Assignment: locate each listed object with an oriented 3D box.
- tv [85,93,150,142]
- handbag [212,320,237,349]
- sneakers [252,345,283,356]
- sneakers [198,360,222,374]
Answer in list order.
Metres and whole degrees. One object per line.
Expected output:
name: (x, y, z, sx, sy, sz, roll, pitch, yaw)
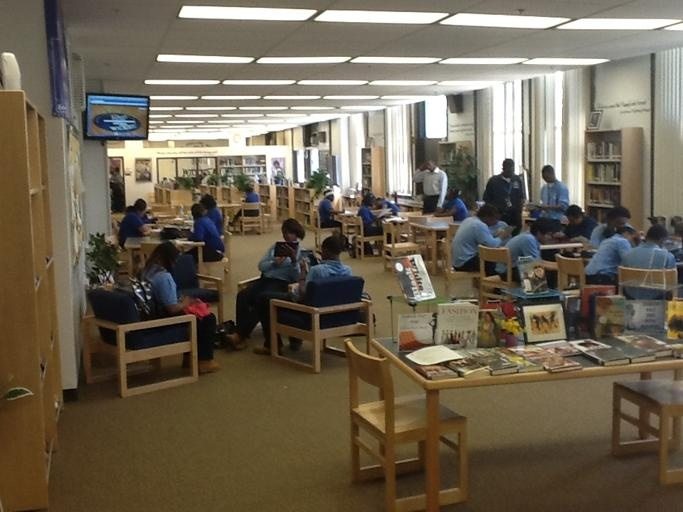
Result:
tv: (-3.468, -2.129, 9.043, 0.809, 0.552, 0.083, -8, 12, -44)
handbag: (-1.335, 0.898, 6.726, 0.162, 0.292, 0.310, 4, 12, 11)
sneakers: (-0.791, 1.029, 6.423, 0.335, 0.138, 0.119, 5, -1, 3)
sneakers: (-1.339, 1.103, 5.972, 0.198, 0.183, 0.095, -6, 12, -24)
